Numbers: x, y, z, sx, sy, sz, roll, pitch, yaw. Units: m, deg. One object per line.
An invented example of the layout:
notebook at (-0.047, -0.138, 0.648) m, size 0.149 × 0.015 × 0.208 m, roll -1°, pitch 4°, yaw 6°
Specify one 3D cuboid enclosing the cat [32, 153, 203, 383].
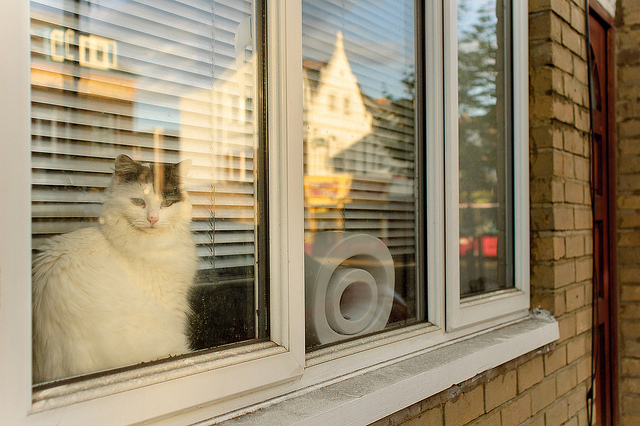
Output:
cat at (-0.531, 0.082, 1.326) m, size 0.475 × 0.613 × 0.317 m, roll -1°, pitch 37°, yaw -24°
